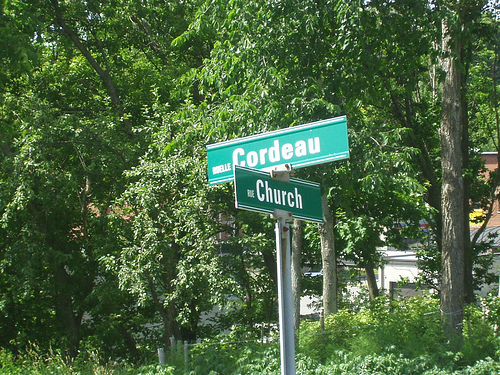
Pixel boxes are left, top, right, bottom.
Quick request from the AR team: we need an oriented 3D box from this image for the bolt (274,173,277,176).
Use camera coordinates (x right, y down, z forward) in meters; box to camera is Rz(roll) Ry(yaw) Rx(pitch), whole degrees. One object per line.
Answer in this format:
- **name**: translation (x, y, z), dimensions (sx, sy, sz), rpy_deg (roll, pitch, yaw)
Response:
- **bolt**: translation (0.550, -0.296, 25.090), dimensions (0.067, 0.061, 0.016), rpy_deg (-5, 6, -1)

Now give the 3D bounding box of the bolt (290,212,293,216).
- **bolt**: translation (0.930, 0.607, 25.113), dimensions (0.085, 0.077, 0.015), rpy_deg (2, -14, -35)

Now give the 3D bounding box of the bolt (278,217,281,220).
- **bolt**: translation (0.652, 0.702, 25.005), dimensions (0.059, 0.059, 0.009), rpy_deg (-5, -11, -3)
